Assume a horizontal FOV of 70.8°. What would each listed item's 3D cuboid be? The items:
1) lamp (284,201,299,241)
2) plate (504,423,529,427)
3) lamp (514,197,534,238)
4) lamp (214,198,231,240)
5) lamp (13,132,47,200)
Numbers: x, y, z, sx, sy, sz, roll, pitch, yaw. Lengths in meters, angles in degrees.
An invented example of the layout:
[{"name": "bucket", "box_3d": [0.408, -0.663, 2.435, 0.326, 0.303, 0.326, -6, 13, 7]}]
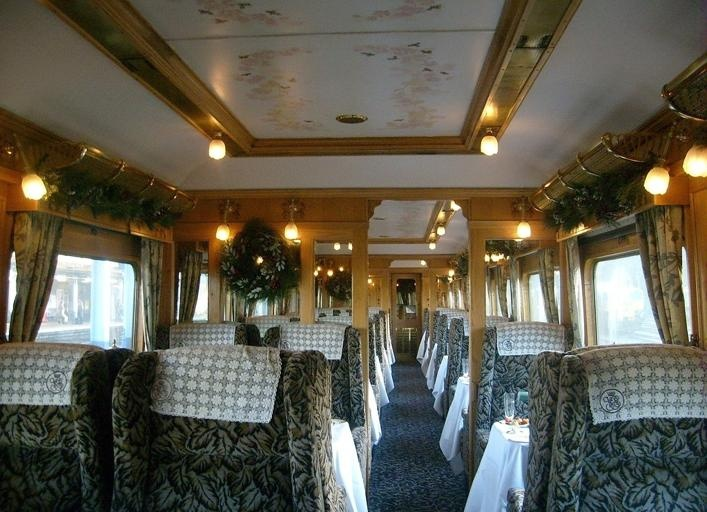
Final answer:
[{"name": "lamp", "box_3d": [-0.702, -0.427, 5.720, 0.177, 0.516, 0.532, 2, -12, -7]}, {"name": "plate", "box_3d": [1.325, 1.374, 4.028, 0.118, 0.021, 0.123, -1, -6, 8]}, {"name": "lamp", "box_3d": [1.885, -0.440, 5.542, 0.169, 0.497, 0.431, -3, -13, 19]}, {"name": "lamp", "box_3d": [-1.499, -0.427, 5.764, 0.175, 0.542, 0.507, 4, -12, -16]}, {"name": "lamp", "box_3d": [-2.450, -0.677, 3.750, 0.147, 0.708, 0.150, -23, -25, -23]}]
